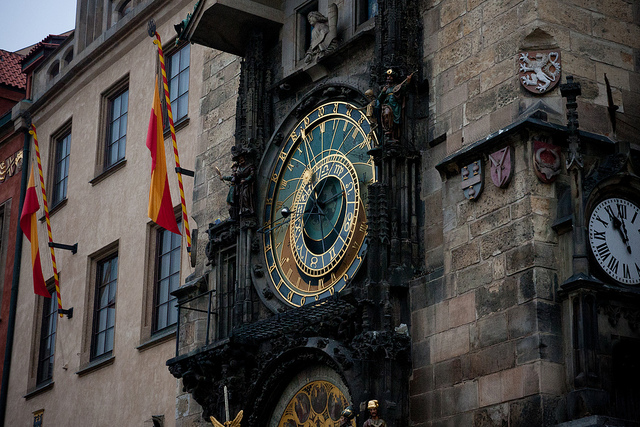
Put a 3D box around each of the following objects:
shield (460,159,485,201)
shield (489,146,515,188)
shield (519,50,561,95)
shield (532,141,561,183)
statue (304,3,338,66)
[{"bbox_3d":[3.362,-0.739,39.517,0.123,0.863,0.611,20,-31,-35],"label":"shield"},{"bbox_3d":[3.960,-1.009,39.055,0.112,0.866,0.621,25,-35,-36],"label":"shield"},{"bbox_3d":[4.822,-3.067,39.357,0.942,0.927,0.210,-5,-27,2],"label":"shield"},{"bbox_3d":[4.907,-1.083,38.867,0.690,0.978,0.126,13,-36,-13],"label":"shield"},{"bbox_3d":[0.006,-4.315,43.261,0.996,1.332,0.341,-22,-32,30],"label":"statue"}]
